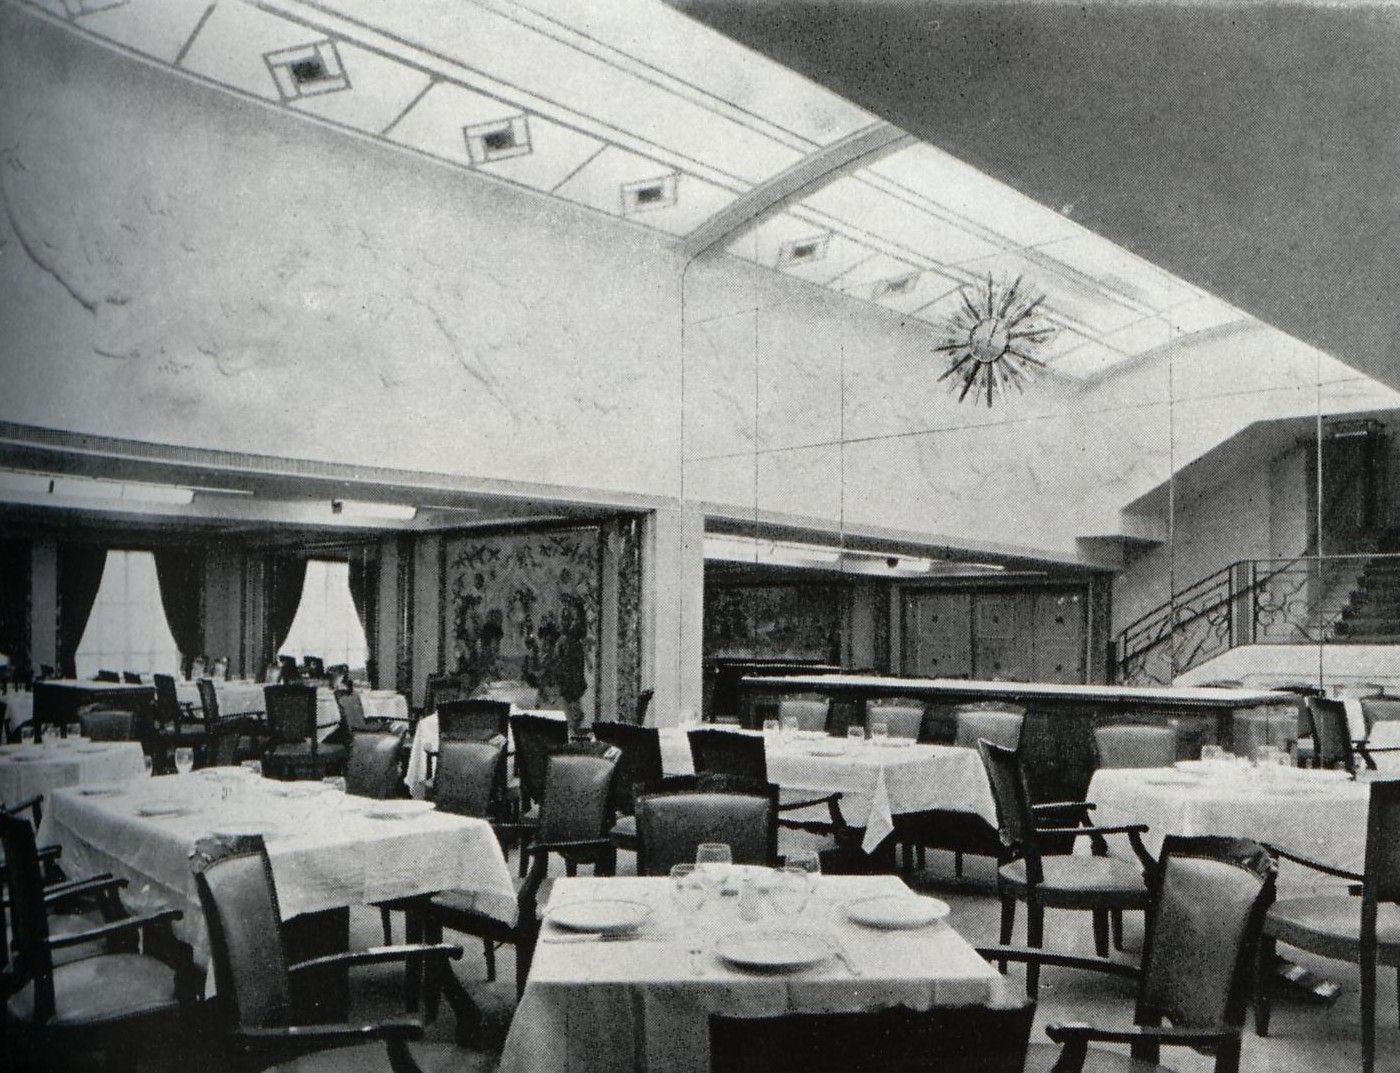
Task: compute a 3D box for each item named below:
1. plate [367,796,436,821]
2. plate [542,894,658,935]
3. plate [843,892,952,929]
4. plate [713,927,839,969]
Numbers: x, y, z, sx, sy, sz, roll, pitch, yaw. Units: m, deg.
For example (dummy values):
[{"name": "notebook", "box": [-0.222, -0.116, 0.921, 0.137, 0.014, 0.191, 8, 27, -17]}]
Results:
[{"name": "plate", "box": [-1.285, 1.172, 5.641, 0.272, 0.058, 0.311, 7, -6, -10]}, {"name": "plate", "box": [-0.334, 1.235, 4.287, 0.332, 0.060, 0.299, 6, -5, -3]}, {"name": "plate", "box": [0.645, 1.235, 4.334, 0.334, 0.087, 0.251, 6, -5, 5]}, {"name": "plate", "box": [0.235, 1.259, 4.021, 0.357, 0.078, 0.336, 6, -5, 1]}]
